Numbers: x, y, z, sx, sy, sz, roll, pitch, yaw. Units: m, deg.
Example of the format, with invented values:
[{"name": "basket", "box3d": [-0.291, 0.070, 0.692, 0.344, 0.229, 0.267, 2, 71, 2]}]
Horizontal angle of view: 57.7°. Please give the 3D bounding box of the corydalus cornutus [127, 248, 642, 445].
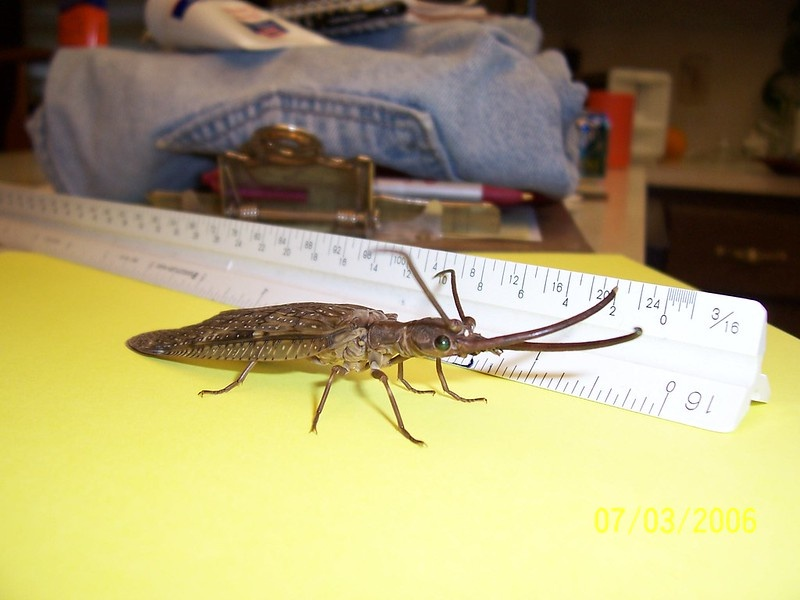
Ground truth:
[{"name": "corydalus cornutus", "box3d": [-0.040, 0.041, 0.877, 0.585, 0.201, 0.233, 8, 18, -3]}]
